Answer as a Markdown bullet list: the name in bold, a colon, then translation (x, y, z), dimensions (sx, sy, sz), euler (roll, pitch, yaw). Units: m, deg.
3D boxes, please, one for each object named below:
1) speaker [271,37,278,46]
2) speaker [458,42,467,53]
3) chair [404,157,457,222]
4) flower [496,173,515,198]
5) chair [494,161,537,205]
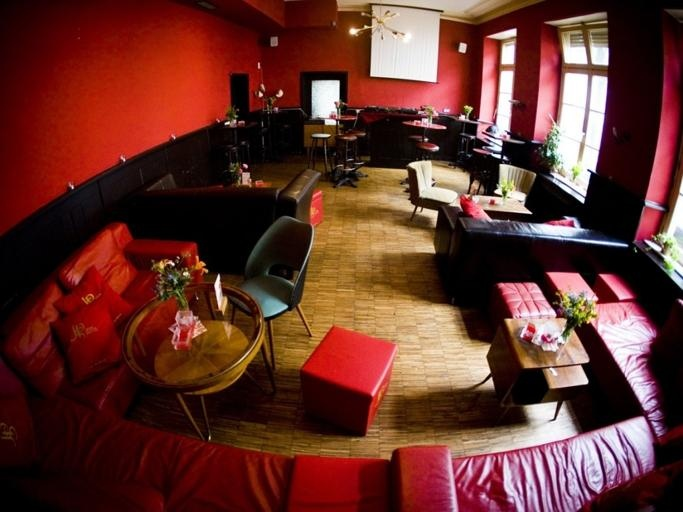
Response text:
- **speaker**: translation (-1.508, -4.860, 10.867), dimensions (0.197, 0.242, 0.164), euler (0, 22, -6)
- **speaker**: translation (2.716, -4.620, 10.666), dimensions (0.190, 0.218, 0.198), euler (-4, 13, 0)
- **chair**: translation (1.344, -0.996, 7.482), dimensions (0.770, 0.980, 0.841), euler (7, 33, 17)
- **flower**: translation (2.375, -1.014, 6.917), dimensions (0.249, 0.293, 0.357), euler (8, -23, 9)
- **chair**: translation (2.644, -1.087, 7.219), dimensions (0.525, 0.621, 0.493), euler (20, 38, 26)
